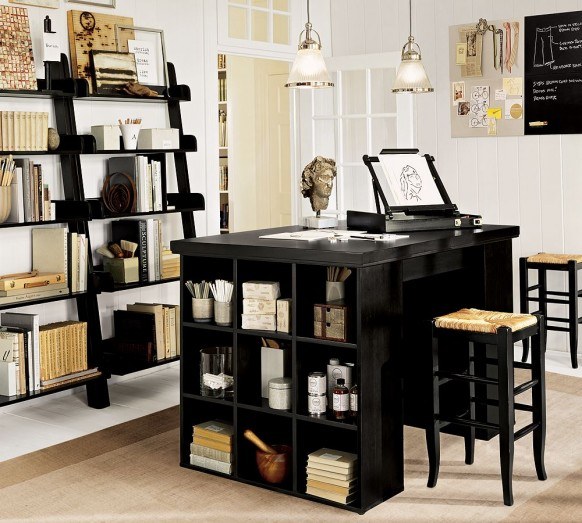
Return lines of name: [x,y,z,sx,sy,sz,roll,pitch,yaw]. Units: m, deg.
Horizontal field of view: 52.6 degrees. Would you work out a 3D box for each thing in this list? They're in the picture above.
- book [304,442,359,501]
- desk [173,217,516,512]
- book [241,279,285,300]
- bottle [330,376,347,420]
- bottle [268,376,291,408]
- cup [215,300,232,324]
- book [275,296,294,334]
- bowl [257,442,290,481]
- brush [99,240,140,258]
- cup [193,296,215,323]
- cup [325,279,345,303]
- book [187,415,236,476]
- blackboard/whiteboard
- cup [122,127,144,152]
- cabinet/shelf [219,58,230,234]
book: [0.169,0.872,2.465,0.215,0.170,0.162,3,4,39]
desk: [0.262,0.330,2.962,1.090,1.179,1.746,4,7,35]
book: [-0.127,0.128,2.617,0.160,0.072,0.144,-2,5,-8]
bottle: [0.204,0.568,2.472,0.083,0.156,0.086,-1,5,0]
bottle: [-0.042,0.579,2.621,0.093,0.105,0.110,0,0,-17]
cup: [-0.303,0.242,2.773,0.094,0.103,0.082,0,3,-5]
book: [-0.017,0.236,2.533,0.042,0.143,0.111,-4,6,-35]
bowl: [-0.079,0.883,2.597,0.125,0.113,0.139,0,-5,4]
brush: [-1.153,-0.079,3.993,0.178,0.089,0.146,-2,3,-38]
cup: [-0.409,0.228,2.787,0.102,0.114,0.098,0,5,0]
cup: [0.192,0.127,2.546,0.080,0.094,0.102,-1,5,3]
book: [-0.365,0.871,2.768,0.184,0.152,0.192,2,4,23]
blackboard/whiteboard: [1.820,-1.508,4.743,1.021,0.920,0.048,3,5,36]
cup: [-1.081,-0.822,4.044,0.146,0.191,0.169,-1,4,-18]
cabinet/shelf: [-0.746,-1.344,6.740,0.119,2.028,0.409,-1,4,-6]
